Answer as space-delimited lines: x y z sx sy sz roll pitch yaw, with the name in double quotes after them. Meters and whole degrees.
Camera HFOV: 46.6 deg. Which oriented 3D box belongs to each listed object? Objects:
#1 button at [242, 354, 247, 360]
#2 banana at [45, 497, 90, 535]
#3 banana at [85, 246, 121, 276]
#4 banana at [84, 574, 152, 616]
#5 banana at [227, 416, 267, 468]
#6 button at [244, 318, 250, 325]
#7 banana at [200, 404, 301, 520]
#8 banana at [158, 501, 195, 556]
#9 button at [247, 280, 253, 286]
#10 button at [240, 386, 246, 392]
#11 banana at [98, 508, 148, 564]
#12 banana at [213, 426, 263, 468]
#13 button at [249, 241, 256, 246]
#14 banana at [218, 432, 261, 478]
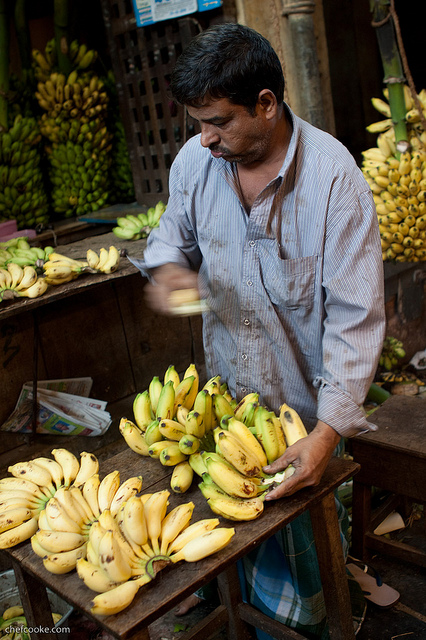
0.106 0.125 1.665 0.020 0.019 0.005 -1 -3 14 "button"
-0.350 0.474 1.184 0.086 0.042 0.137 -7 13 -21 "banana"
-0.608 -0.333 2.743 0.154 0.091 0.188 -13 37 3 "banana"
-0.179 0.526 0.942 0.041 0.047 0.148 25 13 33 "banana"
0.082 0.299 1.311 0.053 0.179 0.057 -34 -10 -31 "banana"
0.113 0.006 1.624 0.022 0.020 0.006 1 8 18 "button"
0.091 0.368 1.269 0.192 0.140 0.261 26 51 3 "banana"
-0.077 0.483 1.160 0.034 0.042 0.121 24 54 13 "banana"
0.120 -0.118 1.588 0.023 0.021 0.006 -1 0 16 "button"
0.105 0.242 1.716 0.014 0.018 0.007 -5 3 9 "button"
-0.189 0.463 1.049 0.045 0.119 0.025 -46 12 0 "banana"
0.061 0.316 1.217 0.079 0.071 0.157 8 17 33 "banana"
0.125 -0.240 1.558 0.014 0.014 0.003 0 5 6 "button"
0.068 0.324 1.226 0.064 0.127 0.042 -41 9 -19 "banana"
